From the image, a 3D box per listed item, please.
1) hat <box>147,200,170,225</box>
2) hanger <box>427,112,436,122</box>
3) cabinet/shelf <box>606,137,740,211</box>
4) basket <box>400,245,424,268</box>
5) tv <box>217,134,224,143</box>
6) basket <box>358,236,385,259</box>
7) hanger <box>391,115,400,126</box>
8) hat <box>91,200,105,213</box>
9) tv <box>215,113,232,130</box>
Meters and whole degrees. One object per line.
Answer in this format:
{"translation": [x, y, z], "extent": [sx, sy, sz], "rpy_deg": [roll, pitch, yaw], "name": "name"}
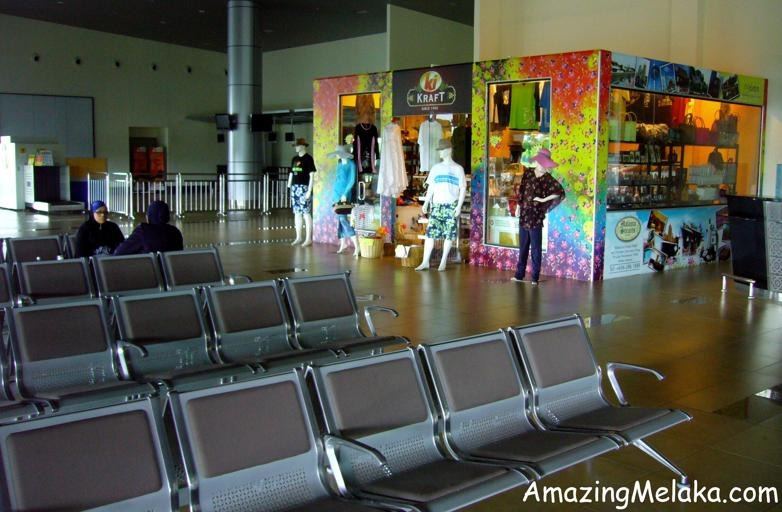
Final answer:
{"translation": [-2.569, -0.479, 5.969], "extent": [0.225, 0.263, 0.294], "rpy_deg": [-5, 8, -28], "name": "hat"}
{"translation": [0.806, -2.748, 10.611], "extent": [0.138, 0.142, 0.154], "rpy_deg": [-12, 8, 7], "name": "hanger"}
{"translation": [5.189, -1.589, 9.903], "extent": [0.389, 0.852, 2.250], "rpy_deg": [-12, 17, -35], "name": "cabinet/shelf"}
{"translation": [0.412, 0.037, 10.007], "extent": [0.435, 0.337, 0.375], "rpy_deg": [-1, -4, 33], "name": "basket"}
{"translation": [-8.449, -5.840, 26.788], "extent": [0.423, 0.405, 0.102], "rpy_deg": [-1, 6, -3], "name": "tv"}
{"translation": [-0.389, -0.172, 10.630], "extent": [0.422, 0.300, 0.432], "rpy_deg": [1, -4, -17], "name": "basket"}
{"translation": [0.100, -2.785, 11.127], "extent": [0.128, 0.178, 0.375], "rpy_deg": [-2, 9, 10], "name": "hanger"}
{"translation": [-3.647, -0.612, 6.670], "extent": [0.131, 0.179, 0.170], "rpy_deg": [-4, 8, -32], "name": "hat"}
{"translation": [-5.545, -4.452, 17.867], "extent": [0.547, 0.534, 0.519], "rpy_deg": [-9, 10, -35], "name": "tv"}
